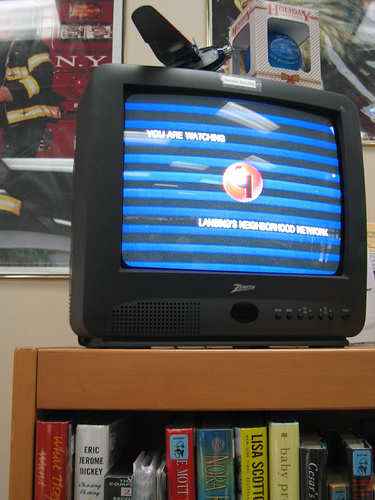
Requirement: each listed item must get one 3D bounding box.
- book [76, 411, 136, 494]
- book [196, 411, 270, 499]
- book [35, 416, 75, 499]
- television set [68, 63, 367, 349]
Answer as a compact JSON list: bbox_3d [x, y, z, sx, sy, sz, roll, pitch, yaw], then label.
[{"bbox_3d":[-0.146,0.357,0.975,0.043,0.105,0.106,-3,-9,11],"label":"book"},{"bbox_3d":[0.079,0.344,0.978,0.129,0.148,0.162,-1,-19,7],"label":"book"},{"bbox_3d":[-0.225,0.355,0.942,0.051,0.119,0.131,-1,-11,-5],"label":"book"},{"bbox_3d":[0.084,-0.092,1.112,0.636,0.515,0.107,-4,-1,-12],"label":"television set"}]
